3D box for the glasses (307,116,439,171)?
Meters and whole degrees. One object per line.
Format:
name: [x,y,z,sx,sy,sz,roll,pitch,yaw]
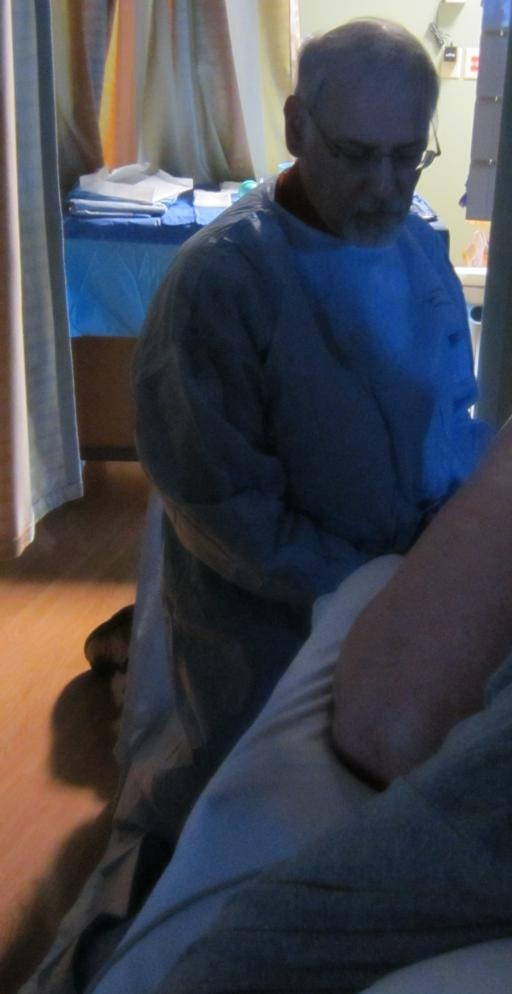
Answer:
glasses: [0.088,-0.267,0.588,0.097,0.041,0.025,4,17,14]
